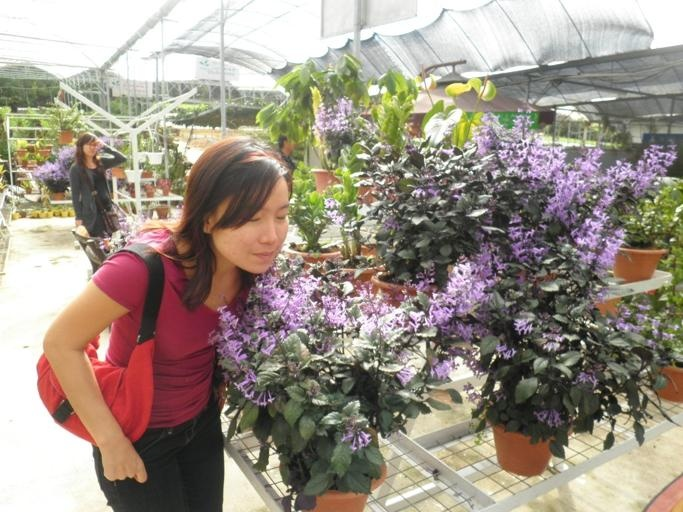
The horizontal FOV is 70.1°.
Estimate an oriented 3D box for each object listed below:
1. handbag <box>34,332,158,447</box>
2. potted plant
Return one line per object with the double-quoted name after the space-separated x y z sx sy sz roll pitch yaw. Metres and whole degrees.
-0.887 0.479 1.789 0.433 0.403 0.262 9 16 31 "handbag"
-0.388 -0.570 2.961 1.268 0.857 1.157 1 18 3 "potted plant"
